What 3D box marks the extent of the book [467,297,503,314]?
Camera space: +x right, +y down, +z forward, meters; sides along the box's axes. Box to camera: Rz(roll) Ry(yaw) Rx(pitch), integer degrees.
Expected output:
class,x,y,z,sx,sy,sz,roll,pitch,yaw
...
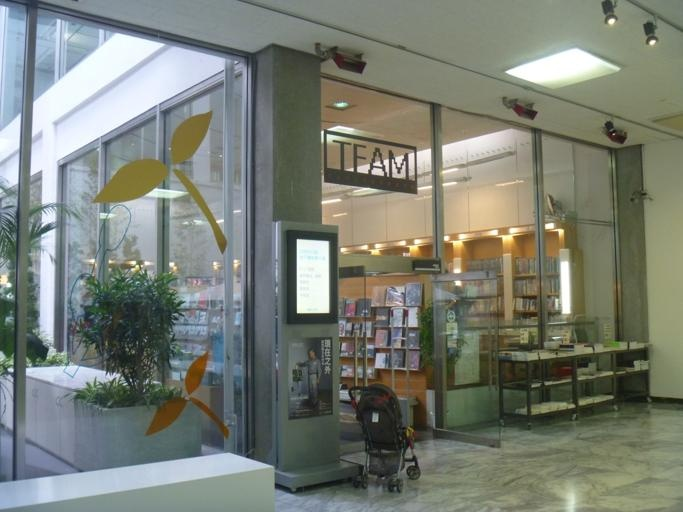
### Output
class,x,y,z,sx,sy,sz,roll,pitch,yaw
book,1.883,0.657,8.109,0.095,0.232,0.448,1,-2,-43

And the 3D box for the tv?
class,x,y,z,sx,sy,sz,roll,pitch,yaw
tv,-0.349,0.233,6.971,0.664,1.081,0.144,1,-2,-36

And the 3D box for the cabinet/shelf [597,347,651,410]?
class,x,y,z,sx,sy,sz,roll,pitch,yaw
cabinet/shelf,5.302,2.216,11.234,0.965,0.856,0.354,2,-8,-23

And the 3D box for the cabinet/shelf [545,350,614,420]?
class,x,y,z,sx,sy,sz,roll,pitch,yaw
cabinet/shelf,3.980,2.187,10.150,1.210,0.924,0.448,2,-3,-43

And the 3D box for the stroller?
class,x,y,z,sx,sy,sz,roll,pitch,yaw
stroller,0.497,2.001,6.853,0.773,1.117,0.874,-1,-2,16

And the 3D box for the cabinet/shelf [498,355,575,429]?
class,x,y,z,sx,sy,sz,roll,pitch,yaw
cabinet/shelf,3.057,2.135,9.501,1.220,0.919,0.475,6,-11,-41

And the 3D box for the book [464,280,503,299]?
class,x,y,z,sx,sy,sz,roll,pitch,yaw
book,1.876,0.431,8.118,0.081,0.257,0.470,1,-2,-43
